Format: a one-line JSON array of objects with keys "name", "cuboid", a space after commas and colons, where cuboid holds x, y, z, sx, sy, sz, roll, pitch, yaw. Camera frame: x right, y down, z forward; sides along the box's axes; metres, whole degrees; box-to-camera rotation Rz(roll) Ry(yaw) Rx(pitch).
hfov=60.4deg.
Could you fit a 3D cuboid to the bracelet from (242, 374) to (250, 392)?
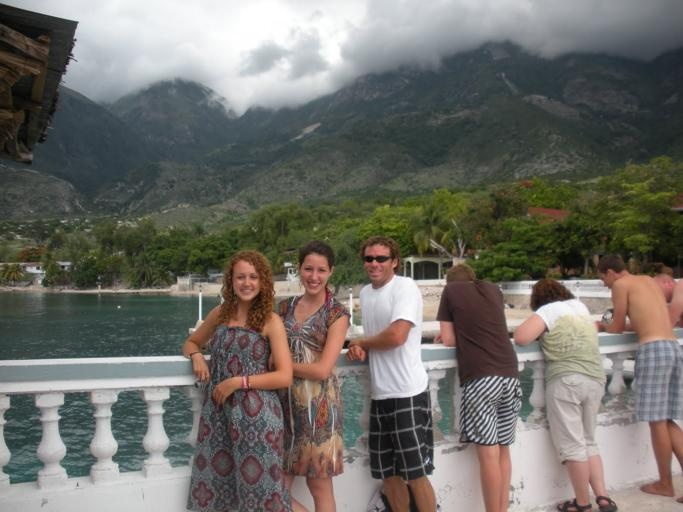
[{"name": "bracelet", "cuboid": [-0.704, 0.936, 4.292, 0.065, 0.100, 0.091, 4, -4, 11]}]
